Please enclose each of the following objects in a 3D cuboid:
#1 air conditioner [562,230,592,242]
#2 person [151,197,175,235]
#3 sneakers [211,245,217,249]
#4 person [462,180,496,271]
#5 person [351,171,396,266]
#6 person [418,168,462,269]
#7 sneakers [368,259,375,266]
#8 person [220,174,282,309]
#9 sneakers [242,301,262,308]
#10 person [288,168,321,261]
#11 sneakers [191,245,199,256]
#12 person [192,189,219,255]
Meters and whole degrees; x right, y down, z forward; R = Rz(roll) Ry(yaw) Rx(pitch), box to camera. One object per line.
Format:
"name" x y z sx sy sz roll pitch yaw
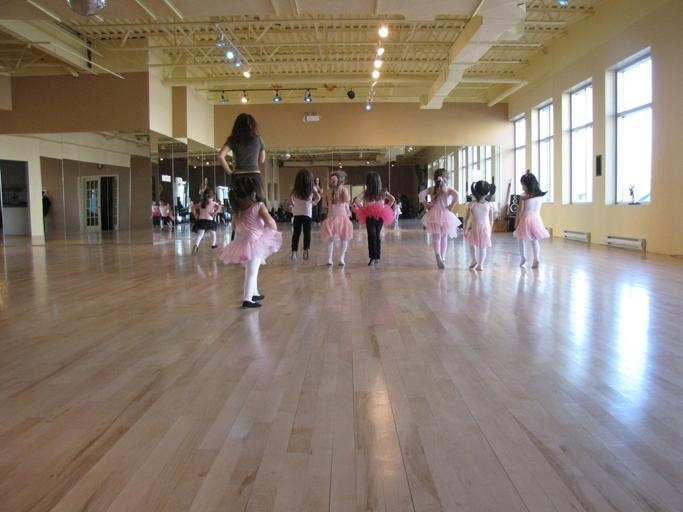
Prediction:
"air conditioner" 5.665 -0.512 10.509 0.287 0.228 1.129 1 7 9
"person" -4.616 -1.058 11.182 0.535 0.829 0.654 -2 7 -11
"sneakers" -2.734 -0.214 9.314 0.108 0.067 0.084 0 5 7
"person" 1.938 -0.468 6.170 0.374 1.221 1.082 2 7 18
"person" 0.486 -0.596 6.621 0.602 1.377 0.671 0 7 4
"person" 1.370 -0.551 6.208 0.542 1.365 0.552 2 7 17
"sneakers" 0.444 0.087 6.484 0.103 0.118 0.075 -1 -6 1
"person" -0.828 -0.145 3.988 0.562 1.166 0.393 -2 7 -18
"sneakers" -0.807 0.426 3.942 0.184 0.087 0.067 0 -1 -9
"person" -0.582 -0.684 6.817 0.412 1.384 0.434 3 1 7
"sneakers" -2.754 -0.110 8.166 0.110 0.205 0.180 3 -6 -10
"person" -2.774 -0.751 8.948 0.497 1.235 2.350 -2 7 -17
